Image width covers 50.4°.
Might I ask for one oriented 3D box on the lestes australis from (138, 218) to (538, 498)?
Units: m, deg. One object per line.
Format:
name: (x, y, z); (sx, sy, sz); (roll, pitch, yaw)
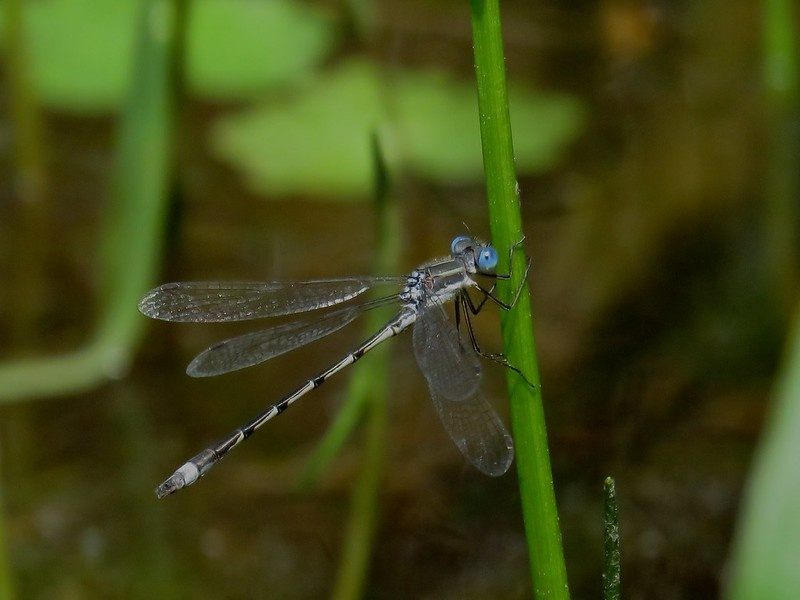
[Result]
lestes australis: (-0.149, 0.107, 1.821); (0.803, 0.511, 0.383); (7, 29, -11)
